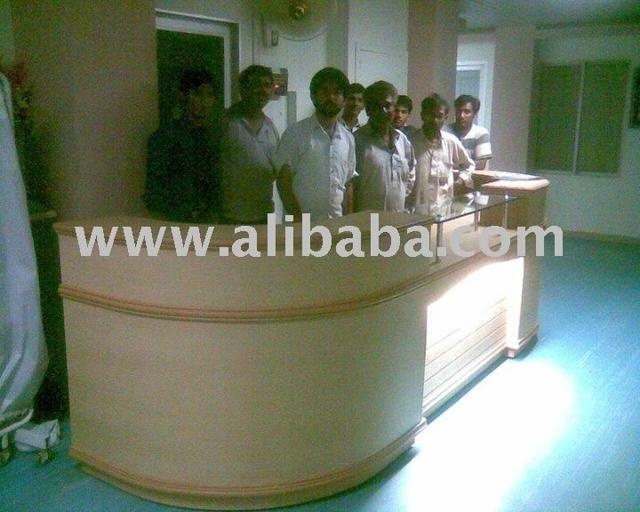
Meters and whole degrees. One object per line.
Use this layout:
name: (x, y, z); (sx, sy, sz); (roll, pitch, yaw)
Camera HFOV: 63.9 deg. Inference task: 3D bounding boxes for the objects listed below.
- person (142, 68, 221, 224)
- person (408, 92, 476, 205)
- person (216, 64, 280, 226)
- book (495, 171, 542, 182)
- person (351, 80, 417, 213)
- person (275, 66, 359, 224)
person: (-0.760, -0.582, 2.781); (0.413, 0.809, 0.159); (4, 14, 15)
person: (0.979, -0.837, 4.089); (0.288, 0.844, 0.697); (13, 19, 42)
person: (-0.390, -0.632, 2.941); (0.370, 0.864, 0.266); (-4, 14, -16)
book: (1.659, -0.664, 4.284); (0.318, 0.032, 0.807); (6, 16, 20)
person: (0.471, -0.727, 3.481); (0.257, 0.834, 0.609); (13, 19, 41)
person: (-0.005, -0.655, 3.084); (0.532, 0.872, 0.324); (-2, 14, -10)
